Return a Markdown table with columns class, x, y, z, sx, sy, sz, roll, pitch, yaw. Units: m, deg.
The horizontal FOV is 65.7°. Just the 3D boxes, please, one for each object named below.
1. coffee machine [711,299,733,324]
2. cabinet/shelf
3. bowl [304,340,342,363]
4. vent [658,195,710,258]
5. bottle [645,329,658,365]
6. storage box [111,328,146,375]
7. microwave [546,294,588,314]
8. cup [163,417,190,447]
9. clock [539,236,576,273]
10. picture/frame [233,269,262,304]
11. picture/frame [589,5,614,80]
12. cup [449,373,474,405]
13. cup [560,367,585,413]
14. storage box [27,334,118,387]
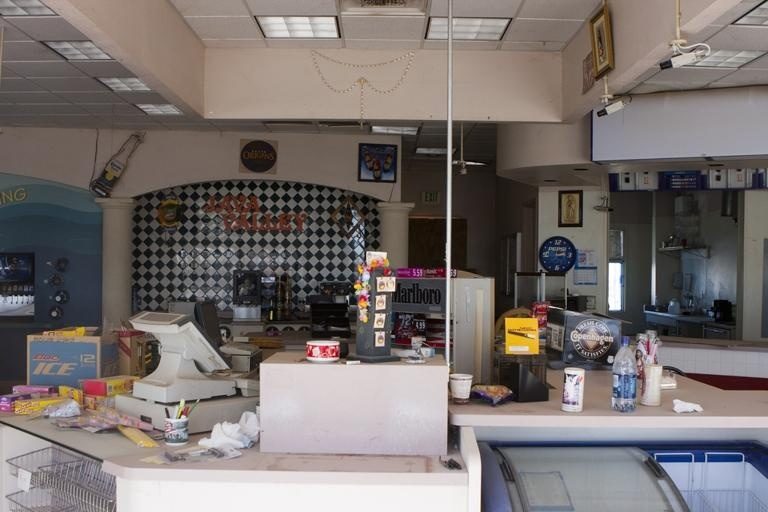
| class | x | y | z | sx | sy | sz | roll | pitch | yaw |
| --- | --- | --- | --- | --- | --- | --- | --- | --- | --- |
| coffee machine | 5.687 | 0.929 | 9.965 | 0.305 | 0.371 | 0.229 | -3 | -4 | 30 |
| cabinet/shelf | 0.553 | 0.626 | 5.257 | 0.688 | 0.898 | 0.835 | 4 | -8 | 3 |
| bowl | -0.424 | 0.643 | 4.144 | 0.174 | 0.103 | 0.170 | 0 | -1 | 0 |
| vent | 6.129 | -0.632 | 12.058 | 0.445 | 1.259 | 1.326 | 0 | 0 | -12 |
| bottle | 2.025 | 0.676 | 4.473 | 0.085 | 0.241 | 0.188 | -3 | -4 | 25 |
| storage box | -2.315 | 0.858 | 5.341 | 0.337 | 0.384 | 0.246 | 13 | -1 | -8 |
| microwave | 2.768 | 0.705 | 9.056 | 0.478 | 0.229 | 0.771 | -3 | -3 | 32 |
| cup | -1.460 | 1.228 | 4.212 | 0.189 | 0.177 | 0.169 | -1 | -1 | 37 |
| clock | 2.765 | -0.036 | 9.412 | 0.590 | 0.572 | 0.588 | 2 | 9 | 39 |
| picture/frame | -2.150 | 0.492 | 9.351 | 0.407 | 0.548 | 0.223 | -1 | -3 | -9 |
| picture/frame | 2.180 | -2.126 | 5.900 | 0.125 | 0.684 | 0.316 | -1 | -3 | -2 |
| cup | 0.564 | 0.975 | 4.364 | 0.186 | 0.183 | 0.186 | 0 | -2 | 0 |
| cup | 1.344 | 0.945 | 4.246 | 0.158 | 0.302 | 0.217 | -3 | -3 | 16 |
| storage box | -2.643 | 0.909 | 5.211 | 0.756 | 0.454 | 0.412 | 0 | -1 | 14 |
